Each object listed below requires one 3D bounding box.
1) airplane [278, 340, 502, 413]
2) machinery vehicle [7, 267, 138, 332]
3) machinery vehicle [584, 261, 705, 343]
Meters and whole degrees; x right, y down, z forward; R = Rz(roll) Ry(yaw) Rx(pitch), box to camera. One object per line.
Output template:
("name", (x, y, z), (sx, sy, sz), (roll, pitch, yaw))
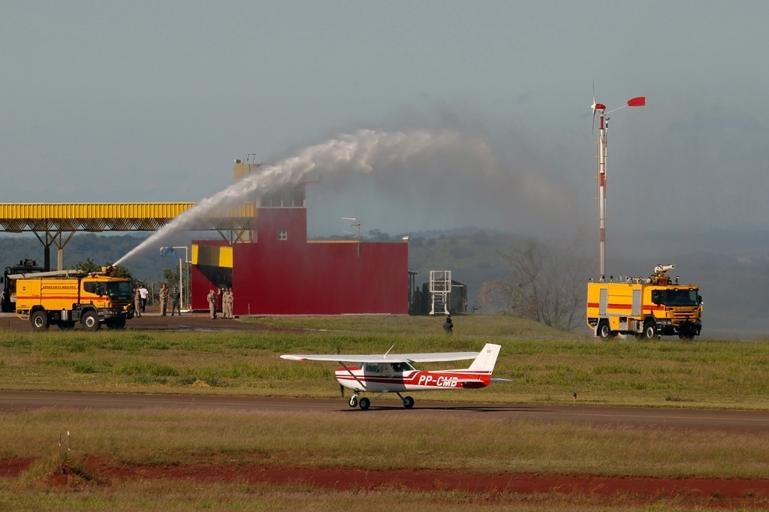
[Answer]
("airplane", (0.830, 7.414, 113.322), (8.577, 5.769, 22.383), (2, -5, -34))
("machinery vehicle", (-23.594, 3.267, 134.320), (9.547, 4.400, 3.912), (-2, -2, 17))
("machinery vehicle", (19.185, 3.563, 133.074), (4.054, 5.502, 9.127), (-2, 0, -32))
